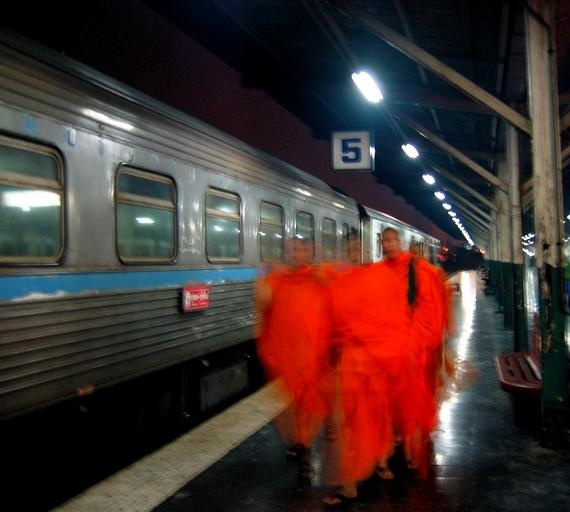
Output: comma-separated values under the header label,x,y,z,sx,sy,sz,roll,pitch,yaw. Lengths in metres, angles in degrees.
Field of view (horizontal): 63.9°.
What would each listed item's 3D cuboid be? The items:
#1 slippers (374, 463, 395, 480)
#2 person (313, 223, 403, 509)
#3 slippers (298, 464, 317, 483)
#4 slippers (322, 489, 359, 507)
label,x,y,z,sx,sy,sz,roll,pitch,yaw
slippers,0.807,1.675,3.649,0.168,0.102,0.174,-1,-1,-10
person,0.603,0.758,3.711,0.893,1.942,0.517,0,-1,-33
slippers,0.176,1.719,3.692,0.085,0.127,0.128,1,0,9
slippers,0.383,1.708,3.261,0.111,0.034,0.134,4,0,34
